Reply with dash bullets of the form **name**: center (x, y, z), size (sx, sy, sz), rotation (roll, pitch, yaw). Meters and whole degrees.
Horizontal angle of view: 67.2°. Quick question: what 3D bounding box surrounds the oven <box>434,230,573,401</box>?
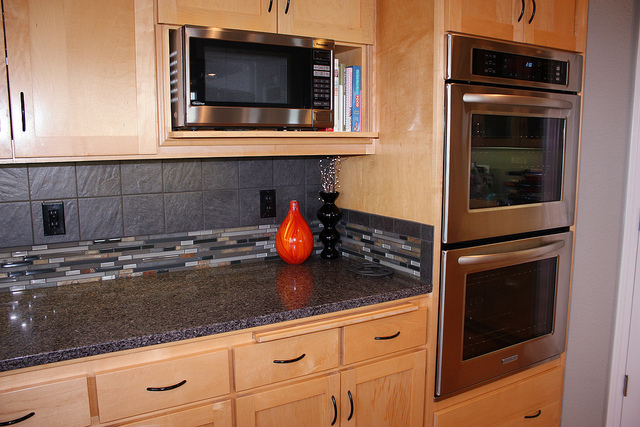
- **oven**: center (0.871, 0.478, 2.769), size (1.009, 0.782, 0.691), rotation (-5, 10, -25)

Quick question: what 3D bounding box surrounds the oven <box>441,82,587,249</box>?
- **oven**: center (0.936, -0.284, 2.631), size (1.002, 0.786, 0.489), rotation (-4, 8, -29)

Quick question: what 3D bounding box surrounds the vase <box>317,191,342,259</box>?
- **vase**: center (0.055, 0.066, 2.783), size (0.137, 0.395, 0.117), rotation (-1, 9, 0)

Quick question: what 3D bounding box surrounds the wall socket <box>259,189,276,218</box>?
- **wall socket**: center (-0.297, -0.059, 2.755), size (0.110, 0.155, 0.020), rotation (-1, 0, 30)

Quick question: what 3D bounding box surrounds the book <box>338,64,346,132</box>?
- **book**: center (0.117, -0.592, 2.496), size (0.025, 0.314, 0.072), rotation (5, 11, 34)

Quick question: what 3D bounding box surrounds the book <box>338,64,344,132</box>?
- **book**: center (0.109, -0.601, 2.486), size (0.021, 0.336, 0.056), rotation (6, 12, 39)

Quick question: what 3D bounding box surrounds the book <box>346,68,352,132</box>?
- **book**: center (0.151, -0.599, 2.513), size (0.031, 0.321, 0.044), rotation (0, 9, 8)

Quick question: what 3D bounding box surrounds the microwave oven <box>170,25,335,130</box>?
- **microwave oven**: center (-0.342, -0.650, 2.409), size (0.810, 0.448, 0.346), rotation (-7, 16, -35)

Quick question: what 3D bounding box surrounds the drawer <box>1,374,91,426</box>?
- **drawer**: center (-1.083, 0.693, 1.880), size (0.224, 0.134, 0.222), rotation (0, -2, -42)

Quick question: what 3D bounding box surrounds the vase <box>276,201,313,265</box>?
- **vase**: center (-0.144, 0.098, 2.753), size (0.243, 0.322, 0.235), rotation (2, 9, 20)

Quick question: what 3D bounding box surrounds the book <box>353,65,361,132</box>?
- **book**: center (0.190, -0.608, 2.533), size (0.060, 0.333, 0.025), rotation (-9, 12, -39)

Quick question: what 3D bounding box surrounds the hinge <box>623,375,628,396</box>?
- **hinge**: center (1.819, 1.021, 2.862), size (0.011, 0.130, 0.017), rotation (-10, 12, -43)

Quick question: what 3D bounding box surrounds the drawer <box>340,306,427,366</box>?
- **drawer**: center (0.445, 0.588, 2.421), size (0.489, 0.205, 0.386), rotation (-24, -20, 38)
